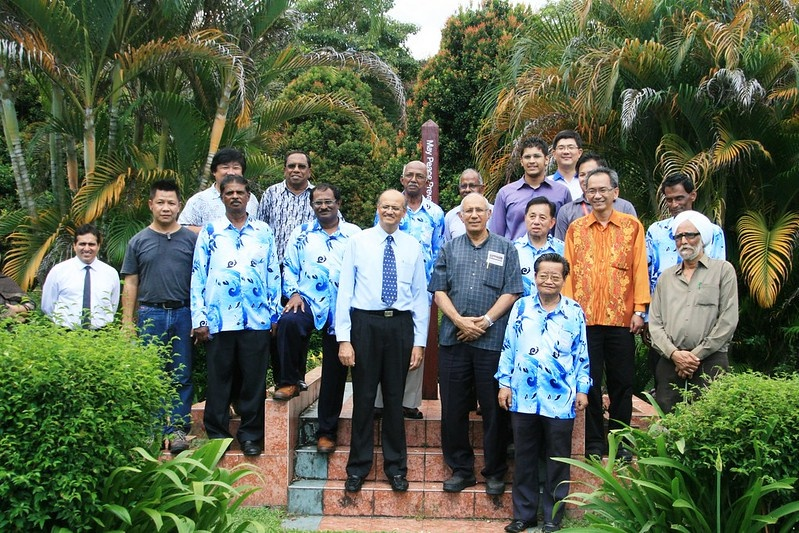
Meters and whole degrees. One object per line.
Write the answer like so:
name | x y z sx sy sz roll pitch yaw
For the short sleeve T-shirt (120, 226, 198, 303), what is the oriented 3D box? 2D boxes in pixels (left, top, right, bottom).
short sleeve T-shirt | -2.556 -0.007 7.193 0.792 0.729 0.409 2 -11 -22

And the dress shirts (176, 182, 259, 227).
dress shirts | -2.104 -0.697 7.704 0.937 0.722 0.279 2 -5 -6

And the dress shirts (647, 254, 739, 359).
dress shirts | 2.916 0.412 6.687 1.000 1.287 0.710 -3 -10 39

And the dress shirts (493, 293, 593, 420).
dress shirts | 1.384 0.907 6.620 1.245 1.486 0.740 2 -1 7

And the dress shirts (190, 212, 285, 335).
dress shirts | -1.749 0.122 7.157 1.258 1.570 0.804 1 -8 -17

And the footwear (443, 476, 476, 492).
footwear | 0.623 2.242 6.957 0.124 0.131 0.372 -3 -7 43

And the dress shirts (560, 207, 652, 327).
dress shirts | 2.152 0.053 7.014 1.218 1.553 0.617 -1 -8 6

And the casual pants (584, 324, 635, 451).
casual pants | 2.202 1.296 7.016 0.529 1.343 0.343 -1 -7 10

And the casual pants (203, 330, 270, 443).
casual pants | -1.741 1.288 7.138 0.628 1.213 0.314 2 -7 -18

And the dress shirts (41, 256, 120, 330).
dress shirts | -3.653 0.283 7.774 0.818 0.772 0.458 1 9 -32

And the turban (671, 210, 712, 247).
turban | 2.935 -0.384 6.763 0.311 0.248 0.264 -1 25 -45

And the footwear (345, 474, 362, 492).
footwear | -0.460 2.264 6.969 0.215 0.201 0.147 3 -7 -19

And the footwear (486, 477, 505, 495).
footwear | 0.979 2.257 6.860 0.192 0.189 0.123 -1 -7 7

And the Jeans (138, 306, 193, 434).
Jeans | -2.460 1.083 7.061 0.586 1.351 0.515 3 -7 -23

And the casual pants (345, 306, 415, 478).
casual pants | -0.212 1.331 7.063 0.635 1.816 0.449 2 -3 -7

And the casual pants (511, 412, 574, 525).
casual pants | 1.400 1.992 6.583 0.583 1.092 0.258 -1 -7 8

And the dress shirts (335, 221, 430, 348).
dress shirts | -0.184 0.193 7.123 0.994 1.266 0.463 2 8 -11

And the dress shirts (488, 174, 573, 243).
dress shirts | 1.490 -0.621 7.482 0.836 0.717 0.299 2 -2 1

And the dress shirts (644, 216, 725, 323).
dress shirts | 2.904 0.066 6.799 0.987 1.283 0.464 -5 -13 35

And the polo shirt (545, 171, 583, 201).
polo shirt | 1.920 -0.923 7.776 0.409 0.388 0.227 3 -12 3

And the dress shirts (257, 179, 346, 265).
dress shirts | -1.112 -0.458 7.473 0.988 0.809 0.332 1 -4 -2

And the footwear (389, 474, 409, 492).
footwear | -0.006 2.245 6.947 0.102 0.100 0.238 0 1 -13

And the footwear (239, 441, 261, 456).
footwear | -1.583 1.946 7.161 0.238 0.156 0.159 2 -7 -15

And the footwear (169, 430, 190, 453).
footwear | -2.354 1.863 7.142 0.201 0.246 0.418 1 -7 -10

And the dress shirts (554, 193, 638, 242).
dress shirts | 2.104 -0.512 7.234 0.568 0.471 0.202 1 -5 12
